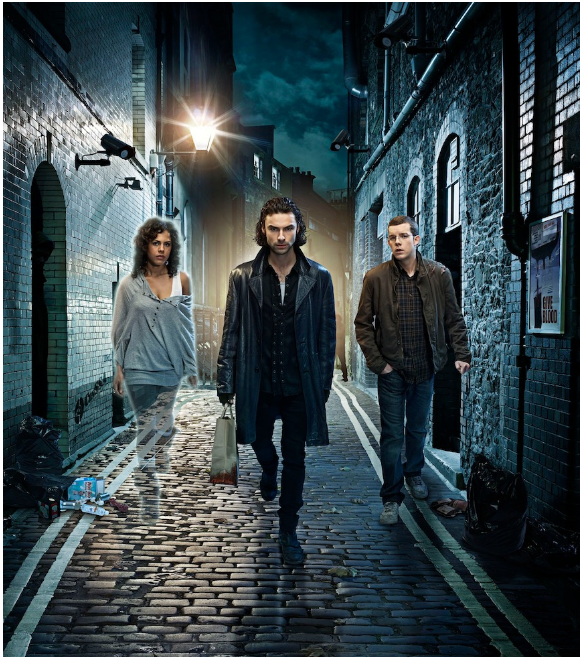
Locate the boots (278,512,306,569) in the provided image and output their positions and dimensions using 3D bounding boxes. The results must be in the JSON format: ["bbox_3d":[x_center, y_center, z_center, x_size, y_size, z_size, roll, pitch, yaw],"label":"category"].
[{"bbox_3d":[0.015,1.389,3.412,0.139,0.434,0.120,-8,22,-11],"label":"boots"}]

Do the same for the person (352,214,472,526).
[{"bbox_3d":[0.945,0.316,4.222,0.914,2.396,0.766,1,-3,-18],"label":"person"}]

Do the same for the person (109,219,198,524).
[{"bbox_3d":[-1.019,0.098,3.869,0.520,1.875,0.479,-1,-4,28],"label":"person"}]

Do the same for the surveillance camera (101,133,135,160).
[{"bbox_3d":[-2.357,-2.464,7.125,0.398,0.414,0.599,1,-3,-14],"label":"surveillance camera"}]

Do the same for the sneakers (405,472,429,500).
[{"bbox_3d":[1.164,1.449,4.699,0.093,0.134,0.301,-1,-4,-2],"label":"sneakers"}]

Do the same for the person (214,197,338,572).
[{"bbox_3d":[-0.086,0.307,3.362,0.665,2.313,0.563,-2,-4,35],"label":"person"}]

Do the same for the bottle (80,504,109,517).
[{"bbox_3d":[-1.559,1.435,4.115,0.153,0.049,0.096,5,-6,16],"label":"bottle"}]

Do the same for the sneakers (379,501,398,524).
[{"bbox_3d":[0.769,1.430,3.985,0.119,0.149,0.220,-1,-3,26],"label":"sneakers"}]
